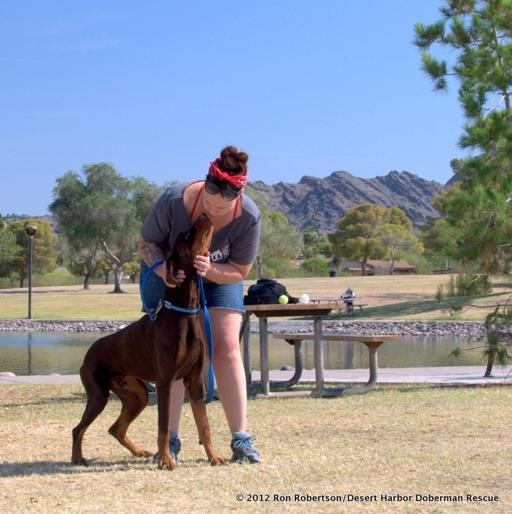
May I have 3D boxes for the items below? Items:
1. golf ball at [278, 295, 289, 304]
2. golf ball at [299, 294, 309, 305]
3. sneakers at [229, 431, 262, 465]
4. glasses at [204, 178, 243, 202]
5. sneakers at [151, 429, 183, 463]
[{"bbox_3d":[0.260,0.419,10.354,0.077,0.077,0.080,-12,-46,-13],"label":"golf ball"},{"bbox_3d":[0.472,0.414,10.691,0.072,0.101,0.097,6,-10,-11],"label":"golf ball"},{"bbox_3d":[-0.089,1.410,8.060,0.122,0.146,0.287,0,-7,-30],"label":"sneakers"},{"bbox_3d":[-0.231,-0.481,7.834,0.260,0.153,0.167,-1,-1,-12],"label":"glasses"},{"bbox_3d":[-0.649,1.395,8.018,0.162,0.213,0.485,1,-13,-2],"label":"sneakers"}]
